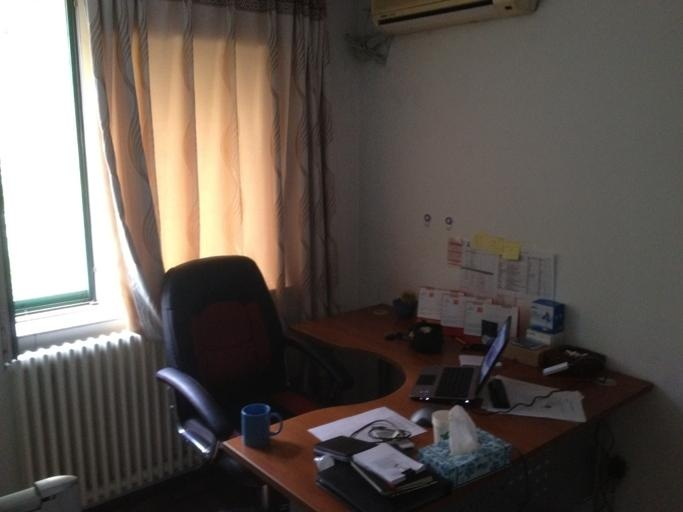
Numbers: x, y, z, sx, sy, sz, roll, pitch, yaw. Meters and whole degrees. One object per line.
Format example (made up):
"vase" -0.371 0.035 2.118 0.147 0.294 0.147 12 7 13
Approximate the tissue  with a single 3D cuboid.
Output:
"tissue " 0.405 0.702 2.141 0.181 0.214 0.229 -21 8 -22

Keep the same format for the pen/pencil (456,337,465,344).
"pen/pencil" 0.645 0.456 3.121 0.009 0.016 0.065 31 9 -31

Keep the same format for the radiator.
"radiator" -1.209 0.776 2.879 0.856 0.789 0.117 -13 11 -37

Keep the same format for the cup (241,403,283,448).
"cup" -0.309 0.676 2.283 0.165 0.141 0.107 5 10 7
